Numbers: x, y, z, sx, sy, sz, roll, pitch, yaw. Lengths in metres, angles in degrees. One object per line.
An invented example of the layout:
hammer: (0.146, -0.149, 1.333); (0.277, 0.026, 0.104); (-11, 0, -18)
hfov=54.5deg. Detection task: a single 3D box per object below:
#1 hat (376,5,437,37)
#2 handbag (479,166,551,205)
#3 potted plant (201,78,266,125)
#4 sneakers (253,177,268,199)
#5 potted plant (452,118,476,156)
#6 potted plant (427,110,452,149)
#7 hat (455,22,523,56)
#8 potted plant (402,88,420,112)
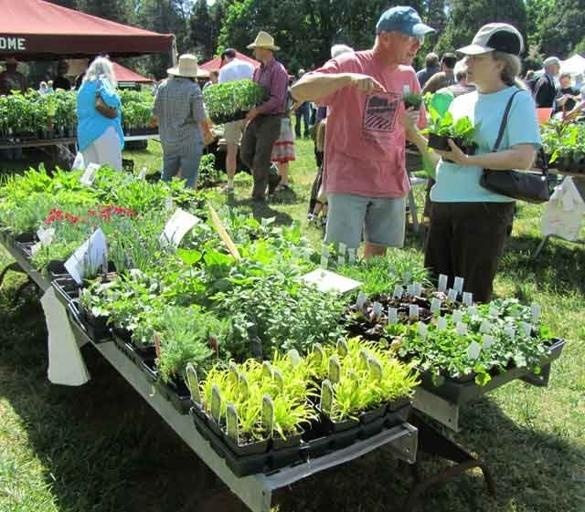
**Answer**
hat: (0.650, -1.336, 3.324); (0.280, 0.151, 0.192); (-6, 29, 11)
handbag: (1.328, -0.426, 3.335); (0.264, 0.124, 0.237); (7, 18, -9)
potted plant: (-0.787, -1.991, 7.206); (0.570, 0.351, 0.658); (-10, 31, -7)
sneakers: (-0.442, -0.902, 7.657); (0.198, 0.387, 0.274); (1, 46, -8)
potted plant: (1.025, -0.701, 3.327); (0.174, 0.222, 0.068); (-6, 20, -20)
potted plant: (0.880, -0.711, 3.356); (0.137, 0.169, 0.105); (12, 22, 28)
hat: (1.150, -1.212, 3.279); (0.290, 0.152, 0.218); (9, 32, 6)
potted plant: (0.771, -0.997, 3.626); (0.114, 0.073, 0.123); (6, 2, 8)
